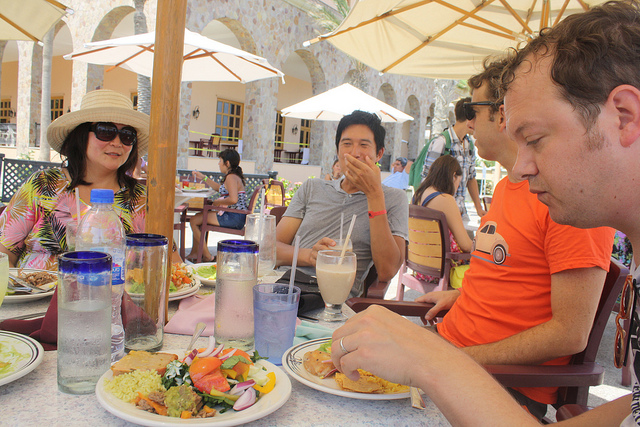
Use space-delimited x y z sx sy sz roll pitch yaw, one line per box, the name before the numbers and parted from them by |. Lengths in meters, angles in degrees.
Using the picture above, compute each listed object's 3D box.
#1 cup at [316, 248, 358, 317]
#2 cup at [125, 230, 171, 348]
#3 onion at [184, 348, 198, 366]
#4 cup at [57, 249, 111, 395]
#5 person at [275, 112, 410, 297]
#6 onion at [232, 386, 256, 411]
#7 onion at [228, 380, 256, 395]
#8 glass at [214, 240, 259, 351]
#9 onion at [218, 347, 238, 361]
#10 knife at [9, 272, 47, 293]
cup | 0.080 0.321 2.214 0.184 0.296 0.279 3 7 3
cup | -0.621 0.292 1.668 0.137 0.414 0.067 0 8 -20
onion | -0.414 0.468 1.498 0.022 0.033 0.057 4 7 15
cup | -0.698 0.373 1.535 0.185 0.438 0.171 -7 -17 -2
person | 0.206 -0.080 3.055 0.929 1.202 1.173 1 7 -11
onion | -0.239 0.585 1.457 0.037 0.023 0.073 19 45 8
onion | -0.248 0.558 1.478 0.063 0.013 0.025 -24 17 -37
glass | -0.316 0.313 1.817 0.181 0.396 0.167 -1 8 -10
onion | -0.303 0.477 1.552 0.013 0.018 0.094 -31 0 24
knife | -1.308 0.317 2.090 0.184 0.020 0.012 33 59 13
